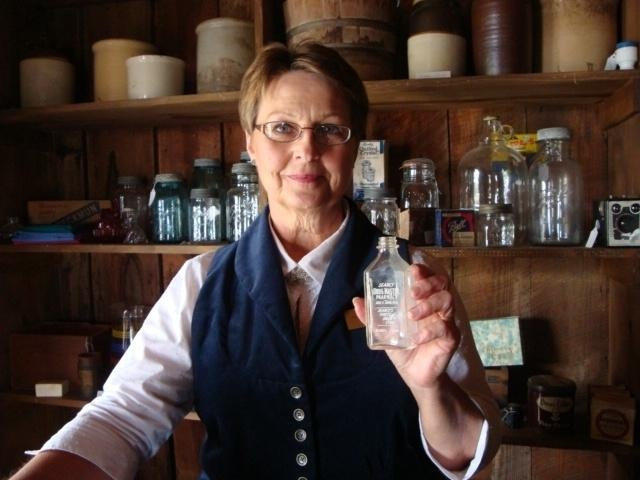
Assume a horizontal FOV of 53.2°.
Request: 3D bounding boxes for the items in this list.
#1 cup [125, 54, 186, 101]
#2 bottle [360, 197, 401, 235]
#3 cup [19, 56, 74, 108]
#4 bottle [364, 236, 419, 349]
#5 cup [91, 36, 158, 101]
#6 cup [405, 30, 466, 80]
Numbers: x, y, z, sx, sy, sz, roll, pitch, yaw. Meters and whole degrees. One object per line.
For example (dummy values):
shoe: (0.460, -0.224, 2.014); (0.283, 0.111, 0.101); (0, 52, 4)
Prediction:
cup: (-0.708, -0.682, 2.803); (0.205, 0.138, 0.211); (0, 5, 0)
bottle: (0.271, -0.080, 2.701); (0.140, 0.242, 0.149); (-1, -5, 0)
cup: (-1.228, -0.683, 2.967); (0.213, 0.249, 0.243); (2, 2, 37)
bottle: (0.203, 0.159, 1.837); (0.148, 0.299, 0.062); (-1, 1, 6)
cup: (-0.918, -0.752, 2.965); (0.260, 0.284, 0.267); (1, -1, 0)
cup: (0.461, -0.713, 2.524); (0.190, 0.147, 0.193); (0, 2, 0)
